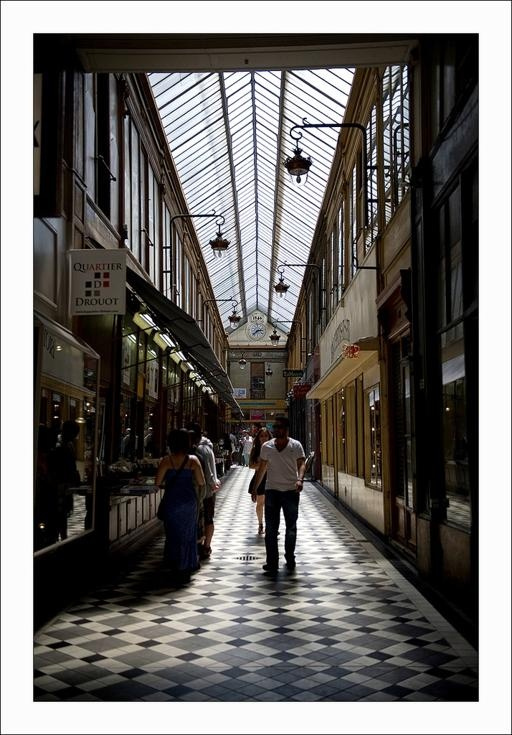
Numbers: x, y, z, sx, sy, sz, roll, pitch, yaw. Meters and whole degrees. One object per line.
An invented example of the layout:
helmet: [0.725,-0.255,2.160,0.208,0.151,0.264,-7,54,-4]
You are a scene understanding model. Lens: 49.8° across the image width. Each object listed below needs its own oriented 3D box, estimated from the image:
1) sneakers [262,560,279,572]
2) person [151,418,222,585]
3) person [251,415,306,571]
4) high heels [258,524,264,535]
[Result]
sneakers: [0.152,2.165,5.966,0.135,0.194,0.096,-1,-4,13]
person: [-0.748,1.552,6.269,0.600,1.538,1.795,0,-12,-4]
person: [0.297,1.401,6.081,0.488,1.696,0.582,3,-10,-17]
high heels: [0.087,2.704,9.076,0.058,0.169,0.138,2,-5,-6]
